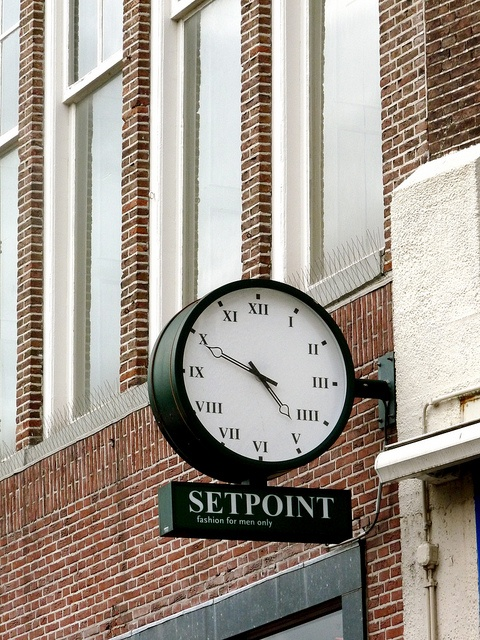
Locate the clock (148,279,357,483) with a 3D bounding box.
[{"bbox_3d":[0.140,0.196,15.625,1.089,1.469,0.535,5,40,6],"label":"clock"}]
